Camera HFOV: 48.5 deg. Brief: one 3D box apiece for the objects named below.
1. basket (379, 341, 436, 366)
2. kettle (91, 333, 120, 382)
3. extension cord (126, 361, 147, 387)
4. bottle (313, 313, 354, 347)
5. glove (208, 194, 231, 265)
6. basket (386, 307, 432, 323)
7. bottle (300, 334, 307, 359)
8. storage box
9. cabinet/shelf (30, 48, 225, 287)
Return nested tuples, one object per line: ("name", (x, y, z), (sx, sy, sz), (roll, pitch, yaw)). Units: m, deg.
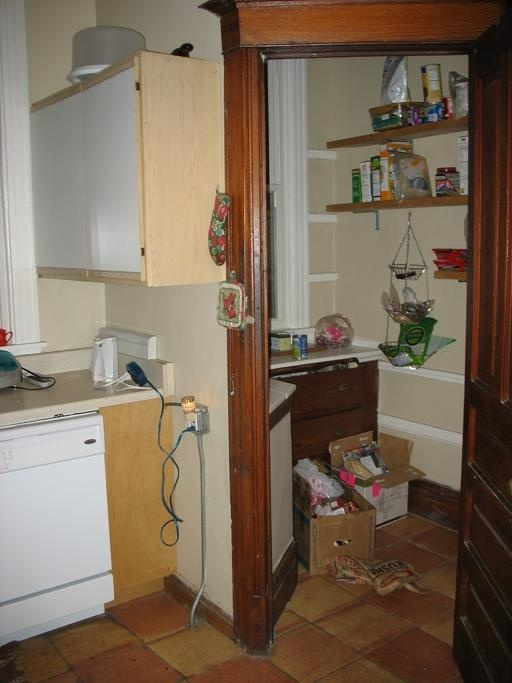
("basket", (0.778, 0.079, 2.990), (0.245, 0.129, 0.076), (3, 7, 42))
("kettle", (-0.667, 0.077, 2.495), (0.116, 0.186, 0.237), (-4, 6, -14))
("extension cord", (-0.488, 0.137, 2.322), (0.040, 0.064, 0.116), (-4, 45, -50))
("bottle", (0.466, -0.058, 3.261), (0.189, 0.176, 0.177), (3, 10, -35))
("glove", (-0.118, -0.360, 1.840), (0.068, 0.226, 0.057), (1, 12, 6))
("basket", (0.789, -0.133, 2.913), (0.210, 0.080, 0.122), (-1, 5, 12))
("bottle", (0.242, 0.028, 2.878), (0.027, 0.113, 0.024), (-4, 5, -20))
("storage box", (0.445, 0.731, 2.708), (0.580, 0.357, 0.549), (-9, 10, -35))
("cabinet/shelf", (-0.531, -0.607, 2.215), (0.335, 0.695, 1.004), (-9, 13, -38))
